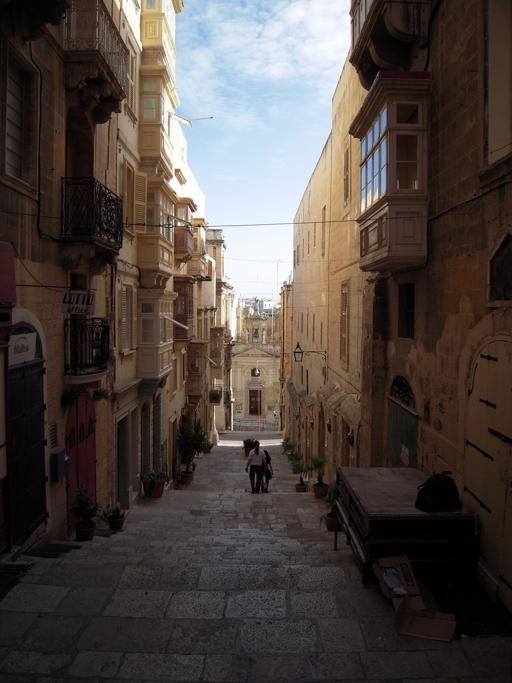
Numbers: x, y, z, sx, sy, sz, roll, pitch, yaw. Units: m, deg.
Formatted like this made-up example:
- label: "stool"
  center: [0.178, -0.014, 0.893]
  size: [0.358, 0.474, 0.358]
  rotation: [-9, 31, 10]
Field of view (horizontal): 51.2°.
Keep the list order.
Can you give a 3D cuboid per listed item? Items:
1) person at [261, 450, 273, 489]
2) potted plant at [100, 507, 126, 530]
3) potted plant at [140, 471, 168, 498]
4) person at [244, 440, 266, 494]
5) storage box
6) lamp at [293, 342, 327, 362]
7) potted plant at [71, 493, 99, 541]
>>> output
- label: "person"
  center: [0.332, 4.086, 16.430]
  size: [0.442, 0.876, 1.331]
  rotation: [0, -33, -1]
- label: "potted plant"
  center: [-2.548, 3.136, 9.620]
  size: [0.346, 0.523, 0.628]
  rotation: [1, -14, -2]
- label: "potted plant"
  center: [-2.717, 3.706, 14.147]
  size: [0.472, 0.736, 0.599]
  rotation: [1, -7, -4]
- label: "person"
  center: [-0.011, 3.628, 15.882]
  size: [0.437, 1.744, 0.528]
  rotation: [-3, 17, -15]
- label: "storage box"
  center: [1.427, 2.379, 4.925]
  size: [0.247, 0.236, 0.566]
  rotation: [2, 38, -7]
- label: "lamp"
  center: [2.148, 0.451, 21.945]
  size: [1.164, 0.995, 0.575]
  rotation: [2, 1, 5]
- label: "potted plant"
  center: [-2.556, 2.579, 7.937]
  size: [0.348, 0.718, 0.647]
  rotation: [3, -8, -20]
